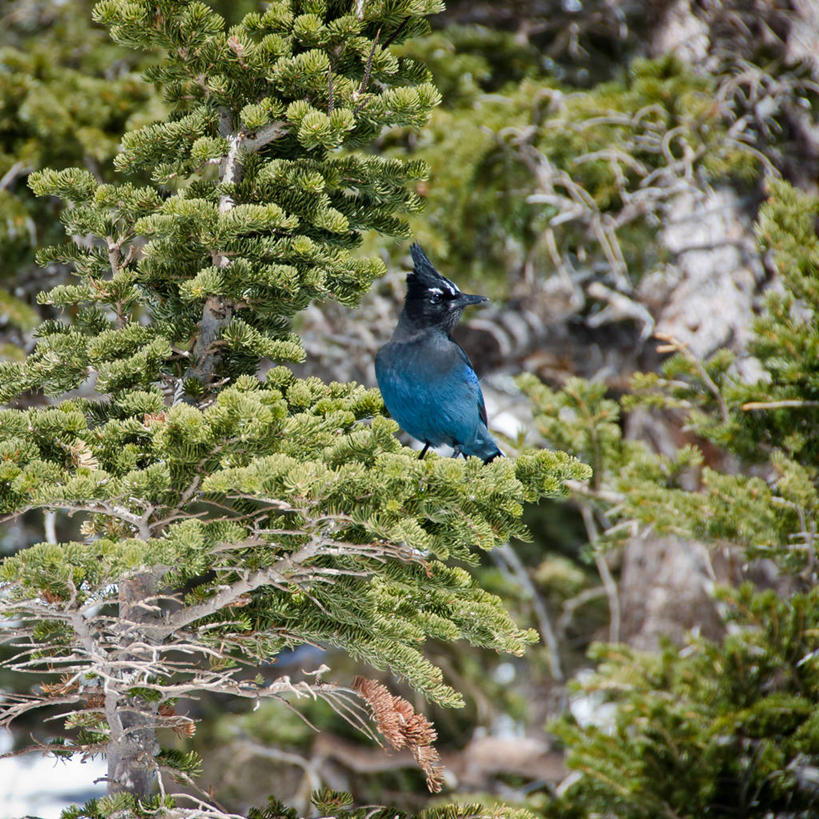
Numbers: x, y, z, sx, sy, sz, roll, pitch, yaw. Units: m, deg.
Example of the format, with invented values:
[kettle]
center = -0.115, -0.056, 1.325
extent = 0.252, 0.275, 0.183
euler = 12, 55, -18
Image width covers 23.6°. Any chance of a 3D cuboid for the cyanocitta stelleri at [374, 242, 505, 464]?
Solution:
[cyanocitta stelleri]
center = 0.098, -0.195, 8.308
extent = 0.531, 0.924, 0.548
euler = -3, 28, -6
